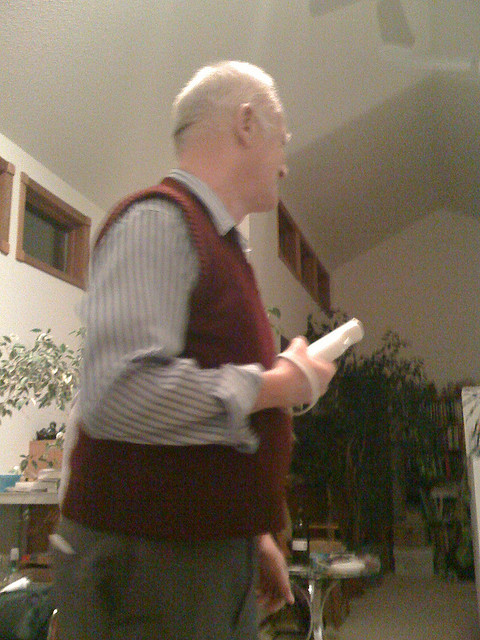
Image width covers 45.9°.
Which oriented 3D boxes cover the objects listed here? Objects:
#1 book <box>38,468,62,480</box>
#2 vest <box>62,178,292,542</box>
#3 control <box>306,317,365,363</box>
[{"bbox_3d":[-0.352,0.283,1.042,0.039,0.022,0.115,3,-17,-19],"label":"book"},{"bbox_3d":[-0.034,0.056,0.843,0.319,0.549,0.390,1,-9,9],"label":"vest"},{"bbox_3d":[0.109,0.022,0.654,0.094,0.062,0.020,10,-19,-38],"label":"control"}]
